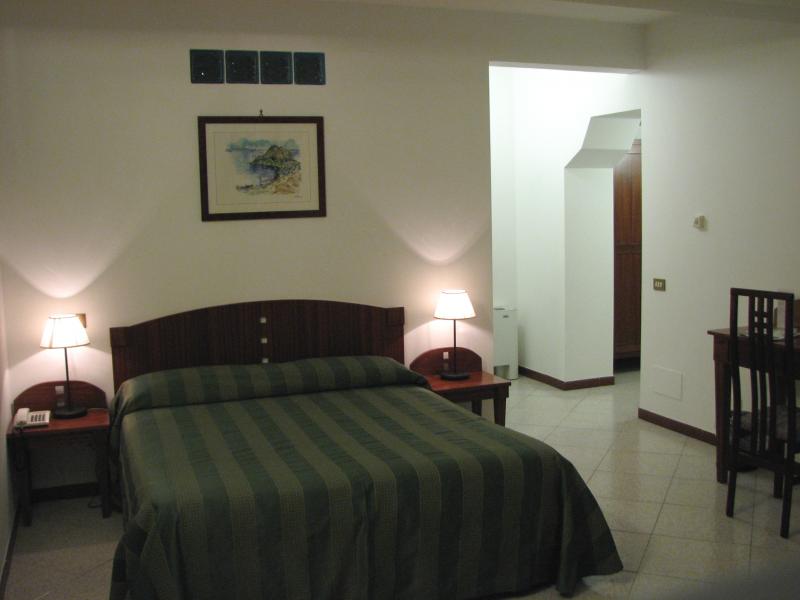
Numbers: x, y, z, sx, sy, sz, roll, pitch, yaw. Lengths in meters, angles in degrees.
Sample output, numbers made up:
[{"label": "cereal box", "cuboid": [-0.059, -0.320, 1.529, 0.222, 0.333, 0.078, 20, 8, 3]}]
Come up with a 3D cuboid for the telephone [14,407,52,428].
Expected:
[{"label": "telephone", "cuboid": [-1.753, 0.565, 3.216, 0.095, 0.029, 0.115, -1, 20, -15]}]

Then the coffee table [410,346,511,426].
[{"label": "coffee table", "cuboid": [0.363, 0.596, 3.883, 0.416, 0.574, 0.393, -8, 6, -15]}]

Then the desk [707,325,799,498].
[{"label": "desk", "cuboid": [1.810, 0.457, 3.329, 0.463, 0.724, 0.588, -6, 7, -42]}]

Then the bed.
[{"label": "bed", "cuboid": [-0.476, 0.638, 3.033, 1.434, 0.794, 1.484, -5, 12, -26]}]

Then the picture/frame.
[{"label": "picture/frame", "cuboid": [-0.782, -0.737, 3.658, 0.533, 0.509, 0.024, -3, 8, -14]}]
